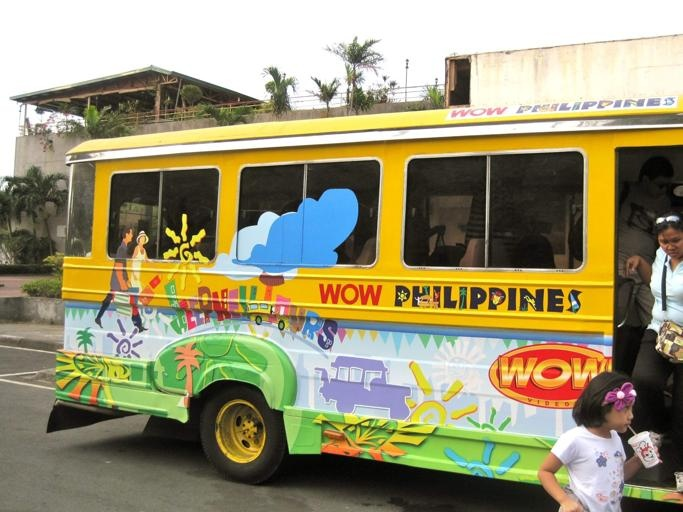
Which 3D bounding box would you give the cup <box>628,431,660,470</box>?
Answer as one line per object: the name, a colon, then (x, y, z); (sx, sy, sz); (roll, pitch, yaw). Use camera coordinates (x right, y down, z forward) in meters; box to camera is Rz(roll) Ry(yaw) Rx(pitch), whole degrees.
cup: (2.299, 1.484, 6.023); (0.204, 0.242, 0.220); (-16, -20, -6)
